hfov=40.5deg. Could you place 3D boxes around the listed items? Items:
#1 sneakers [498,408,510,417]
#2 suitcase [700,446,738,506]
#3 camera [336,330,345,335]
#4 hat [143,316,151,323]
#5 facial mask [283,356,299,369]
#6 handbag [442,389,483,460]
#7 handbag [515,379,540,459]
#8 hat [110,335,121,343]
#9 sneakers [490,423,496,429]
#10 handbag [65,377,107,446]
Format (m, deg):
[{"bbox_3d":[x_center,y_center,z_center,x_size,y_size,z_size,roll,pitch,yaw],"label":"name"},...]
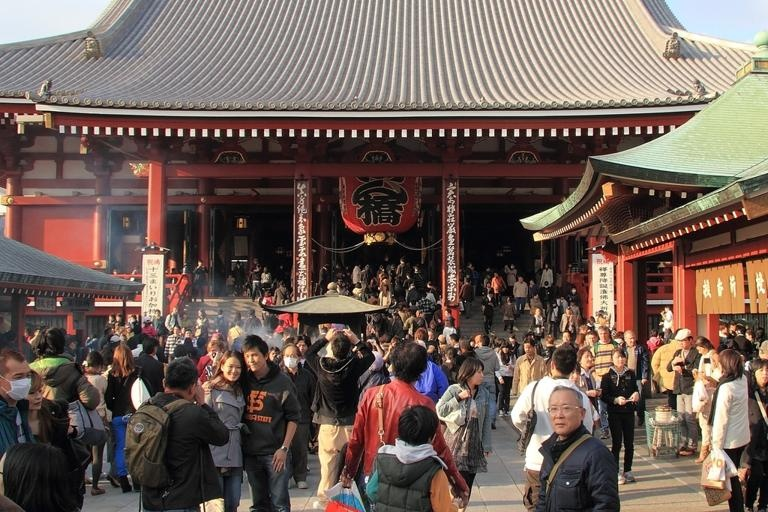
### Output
[{"bbox_3d":[2.923,3.832,25.479,0.320,0.215,0.113,-4,-5,10],"label":"sneakers"},{"bbox_3d":[5.867,3.867,18.342,0.601,0.947,0.289,-3,-10,18],"label":"suitcase"},{"bbox_3d":[-0.775,1.367,18.685,0.123,0.111,0.186,0,-10,-1],"label":"camera"},{"bbox_3d":[-6.588,1.769,29.079,0.229,0.129,0.147,-5,-2,17],"label":"hat"},{"bbox_3d":[-1.763,1.992,19.772,0.222,0.170,0.251,5,-2,4],"label":"facial mask"},{"bbox_3d":[1.344,3.012,18.356,0.793,1.491,0.430,-1,-10,4],"label":"handbag"},{"bbox_3d":[2.428,2.817,17.786,0.241,1.016,0.566,4,5,-8],"label":"handbag"},{"bbox_3d":[-6.416,1.974,24.913,0.217,0.123,0.300,-1,4,-10],"label":"hat"},{"bbox_3d":[2.510,3.897,24.028,0.058,0.137,0.188,2,7,12],"label":"sneakers"},{"bbox_3d":[-5.104,2.656,17.787,0.400,1.091,1.020,-19,-33,-3],"label":"handbag"}]
